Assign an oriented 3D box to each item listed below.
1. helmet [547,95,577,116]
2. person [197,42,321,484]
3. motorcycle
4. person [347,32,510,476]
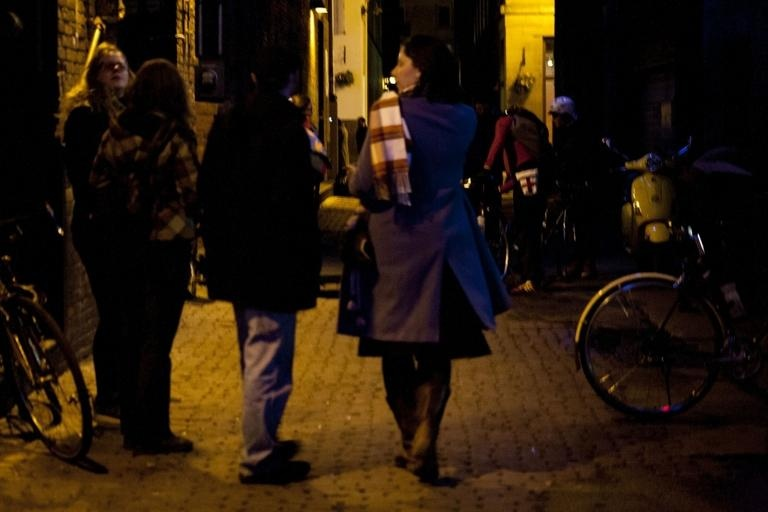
[{"bbox_3d":[2.587,-2.156,11.666,0.339,0.481,0.466,1,12,4],"label":"helmet"},{"bbox_3d":[-0.851,0.089,5.709,0.813,3.026,0.339,-3,8,-18],"label":"person"},{"bbox_3d":[3.510,-0.660,10.840,0.965,1.766,2.333,-2,8,11],"label":"motorcycle"},{"bbox_3d":[0.281,0.023,5.785,1.028,3.125,0.496,-1,8,-4],"label":"person"}]
